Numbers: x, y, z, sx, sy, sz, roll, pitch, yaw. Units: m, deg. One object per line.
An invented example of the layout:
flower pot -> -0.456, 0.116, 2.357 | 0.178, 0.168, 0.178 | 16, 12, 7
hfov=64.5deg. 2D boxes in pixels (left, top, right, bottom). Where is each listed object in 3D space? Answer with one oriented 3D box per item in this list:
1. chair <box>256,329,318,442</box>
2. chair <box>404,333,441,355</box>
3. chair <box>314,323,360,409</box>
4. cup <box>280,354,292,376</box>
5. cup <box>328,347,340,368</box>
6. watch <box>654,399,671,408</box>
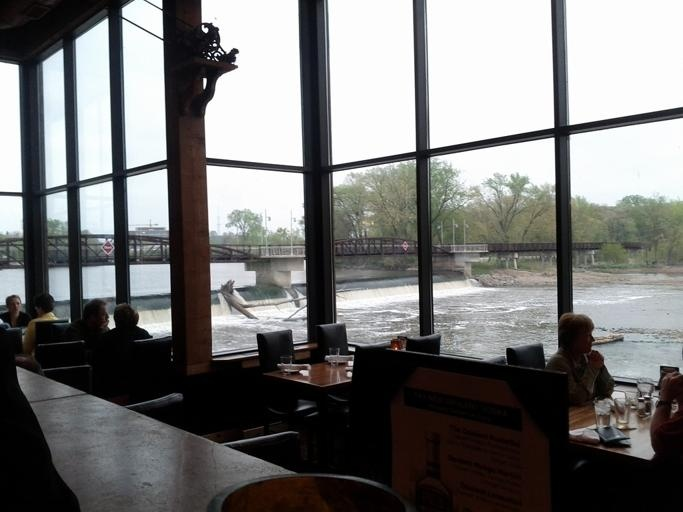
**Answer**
chair -> -0.475, 1.071, 4.937 | 0.373, 0.700, 0.407 | -11, 16, -17
chair -> 0.721, 0.758, 4.677 | 0.265, 0.160, 0.499 | -2, 1, 12
chair -> -0.026, 1.089, 5.354 | 0.520, 0.719, 0.508 | 14, 16, 24
cup -> -0.492, 0.941, 4.688 | 0.114, 0.177, 0.115 | 2, -2, 0
cup -> -0.057, 0.937, 5.041 | 0.110, 0.170, 0.109 | -1, 3, 0
watch -> 1.570, 0.738, 2.658 | 0.051, 0.036, 0.054 | 29, -28, -21
